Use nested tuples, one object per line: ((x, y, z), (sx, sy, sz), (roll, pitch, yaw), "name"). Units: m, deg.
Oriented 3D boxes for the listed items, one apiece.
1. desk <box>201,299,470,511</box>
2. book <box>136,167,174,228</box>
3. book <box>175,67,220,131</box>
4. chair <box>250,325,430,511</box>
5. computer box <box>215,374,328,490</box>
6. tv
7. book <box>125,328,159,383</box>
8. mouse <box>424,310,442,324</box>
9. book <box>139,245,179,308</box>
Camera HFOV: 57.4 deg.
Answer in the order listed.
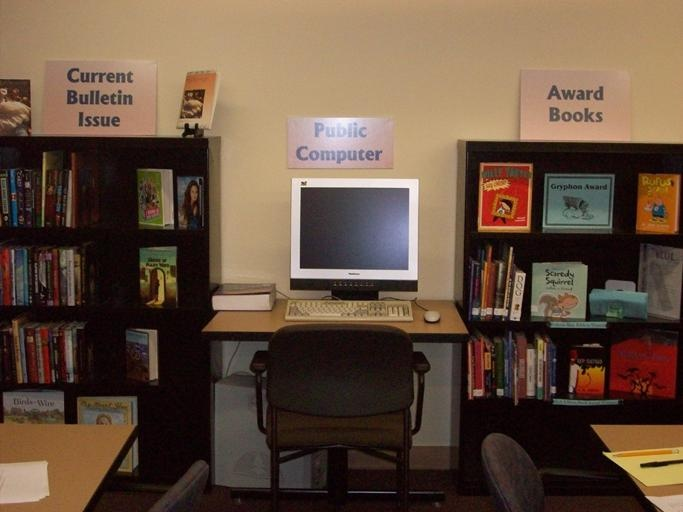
((-0.030, 0.889, 3.130), (1.266, 0.949, 0.939), (0, 8, 1), "desk")
((-0.981, -0.298, 3.293), (0.188, 0.307, 0.144), (-1, 7, -15), "book")
((-0.755, -0.828, 3.311), (0.201, 0.315, 0.166), (3, 7, 21), "book")
((-0.028, 0.602, 3.175), (0.868, 1.285, 0.852), (1, 13, 1), "chair")
((-0.341, 0.994, 3.621), (0.727, 0.744, 0.517), (1, 3, 5), "computer box")
((0.069, -0.110, 3.383), (0.625, 0.629, 0.247), (0, 0, 1), "tv")
((-1.088, 0.533, 3.373), (0.220, 0.279, 0.071), (4, 7, 27), "book")
((0.462, 0.313, 3.192), (0.054, 0.036, 0.071), (-1, 8, 2), "mouse")
((-0.986, 0.120, 3.358), (0.285, 0.422, 0.044), (2, 7, 8), "book")
